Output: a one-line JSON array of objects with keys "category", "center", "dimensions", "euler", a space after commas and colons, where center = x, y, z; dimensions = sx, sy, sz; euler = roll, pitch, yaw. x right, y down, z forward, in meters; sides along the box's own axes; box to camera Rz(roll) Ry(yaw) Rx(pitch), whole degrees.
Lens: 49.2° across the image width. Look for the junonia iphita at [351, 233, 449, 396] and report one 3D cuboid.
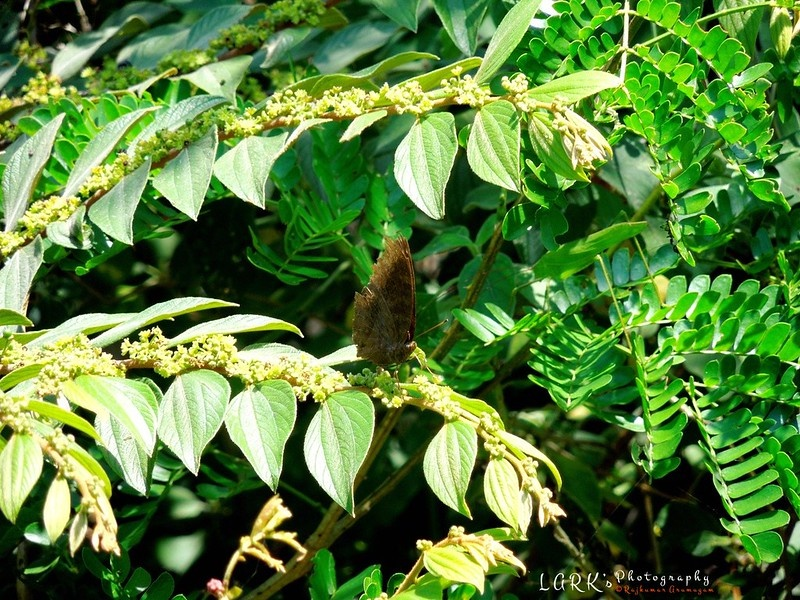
[{"category": "junonia iphita", "center": [-0.002, 0.007, 1.308], "dimensions": [0.134, 0.215, 0.151], "euler": [3, 10, -4]}]
